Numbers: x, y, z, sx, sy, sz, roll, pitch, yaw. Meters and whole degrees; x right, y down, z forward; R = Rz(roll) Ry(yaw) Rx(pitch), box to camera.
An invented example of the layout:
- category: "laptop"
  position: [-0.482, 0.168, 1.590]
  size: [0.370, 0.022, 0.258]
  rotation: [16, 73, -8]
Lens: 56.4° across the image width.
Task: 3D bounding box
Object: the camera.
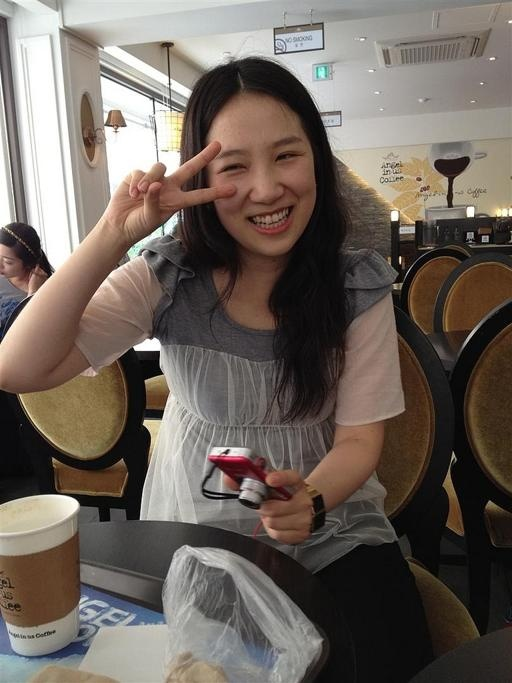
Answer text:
- category: "camera"
  position: [-0.010, 0.141, 0.485]
  size: [0.093, 0.094, 0.034]
  rotation: [7, 58, 15]
